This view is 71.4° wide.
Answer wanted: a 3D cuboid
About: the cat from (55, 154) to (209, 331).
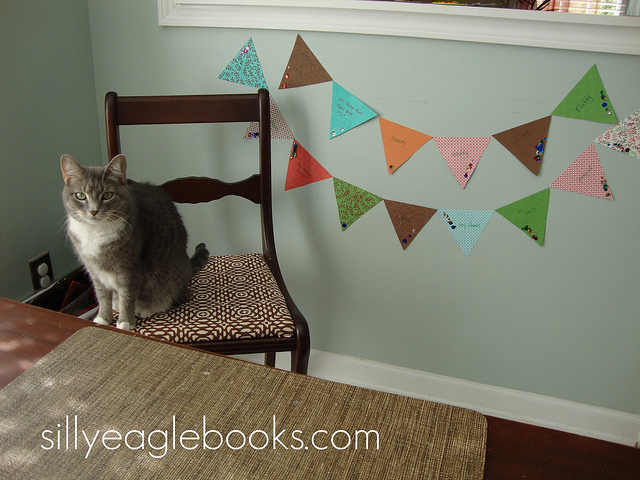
[{"bbox_3d":[-0.573,-0.005,1.431,0.231,0.486,0.607,5,8,9],"label":"cat"}]
